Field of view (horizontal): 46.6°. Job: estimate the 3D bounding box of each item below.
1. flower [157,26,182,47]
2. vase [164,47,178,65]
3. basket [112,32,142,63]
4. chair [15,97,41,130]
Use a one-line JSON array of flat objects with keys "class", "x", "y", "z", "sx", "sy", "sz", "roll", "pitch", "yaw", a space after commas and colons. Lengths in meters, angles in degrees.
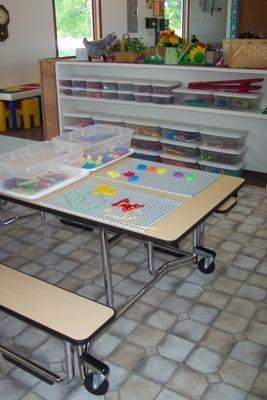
[{"class": "flower", "x": 0.367, "y": -1.735, "z": 3.303, "sx": 0.203, "sy": 0.116, "sz": 0.199, "roll": -21, "pitch": 34, "yaw": -28}, {"class": "vase", "x": 0.427, "y": -1.587, "z": 3.420, "sx": 0.151, "sy": 0.175, "sz": 0.137, "roll": -3, "pitch": 20, "yaw": -1}, {"class": "basket", "x": -0.072, "y": -1.778, "z": 3.696, "sx": 0.390, "sy": 0.294, "sz": 0.334, "roll": -3, "pitch": 20, "yaw": -4}, {"class": "chair", "x": -1.943, "y": -1.582, "z": 5.635, "sx": 0.429, "sy": 0.592, "sz": 0.446, "roll": 21, "pitch": 32, "yaw": 31}]
